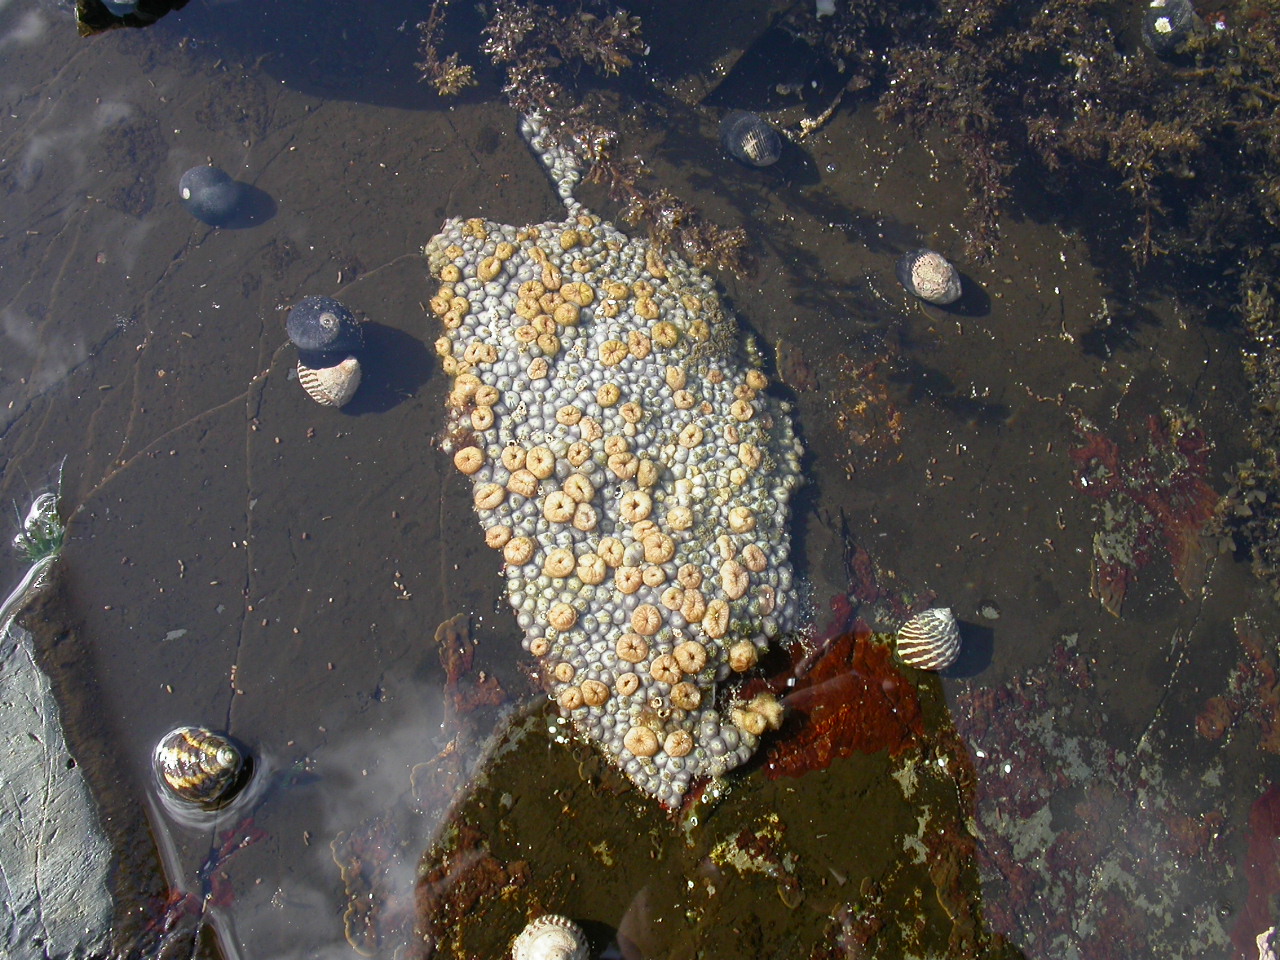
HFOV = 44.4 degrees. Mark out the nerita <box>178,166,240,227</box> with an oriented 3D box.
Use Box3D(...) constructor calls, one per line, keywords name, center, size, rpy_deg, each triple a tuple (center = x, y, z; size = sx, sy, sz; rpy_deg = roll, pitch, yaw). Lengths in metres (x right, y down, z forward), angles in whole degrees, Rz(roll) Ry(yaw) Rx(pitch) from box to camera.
Box3D(name="nerita", center=(-4.671, -3.096, 17.020), size=(0.578, 0.347, 0.549), rpy_deg=(16, 71, 17))
